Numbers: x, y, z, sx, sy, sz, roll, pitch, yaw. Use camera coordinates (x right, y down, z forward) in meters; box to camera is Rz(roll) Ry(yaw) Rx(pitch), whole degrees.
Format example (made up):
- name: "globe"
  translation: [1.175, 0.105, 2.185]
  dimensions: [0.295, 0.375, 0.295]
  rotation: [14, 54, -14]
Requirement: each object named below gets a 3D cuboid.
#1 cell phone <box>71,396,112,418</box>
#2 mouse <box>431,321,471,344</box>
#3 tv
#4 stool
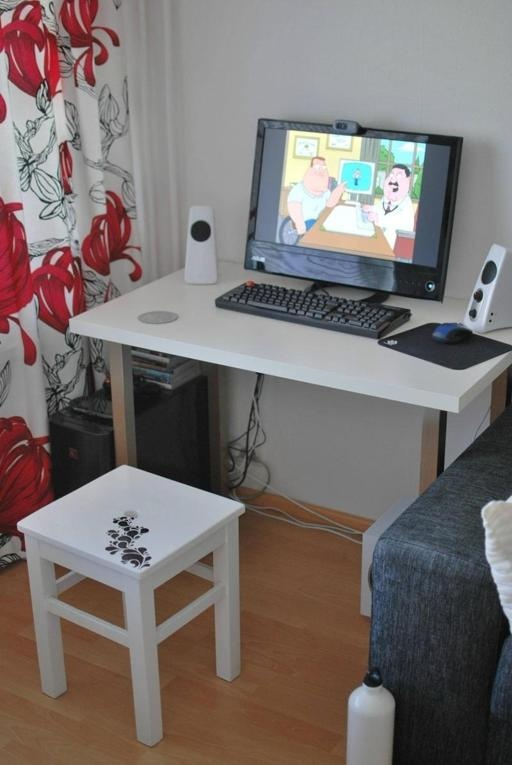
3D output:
- name: "cell phone"
  translation: [-0.470, 0.072, 1.832]
  dimensions: [0.099, 0.015, 0.067]
  rotation: [13, 32, 25]
- name: "mouse"
  translation: [0.427, -0.106, 1.378]
  dimensions: [0.060, 0.037, 0.088]
  rotation: [12, 18, 39]
- name: "tv"
  translation: [0.270, -0.437, 1.612]
  dimensions: [0.447, 0.357, 0.061]
  rotation: [14, 22, 26]
- name: "stool"
  translation: [-0.241, 0.446, 1.297]
  dimensions: [0.373, 0.405, 0.379]
  rotation: [-11, 20, -35]
